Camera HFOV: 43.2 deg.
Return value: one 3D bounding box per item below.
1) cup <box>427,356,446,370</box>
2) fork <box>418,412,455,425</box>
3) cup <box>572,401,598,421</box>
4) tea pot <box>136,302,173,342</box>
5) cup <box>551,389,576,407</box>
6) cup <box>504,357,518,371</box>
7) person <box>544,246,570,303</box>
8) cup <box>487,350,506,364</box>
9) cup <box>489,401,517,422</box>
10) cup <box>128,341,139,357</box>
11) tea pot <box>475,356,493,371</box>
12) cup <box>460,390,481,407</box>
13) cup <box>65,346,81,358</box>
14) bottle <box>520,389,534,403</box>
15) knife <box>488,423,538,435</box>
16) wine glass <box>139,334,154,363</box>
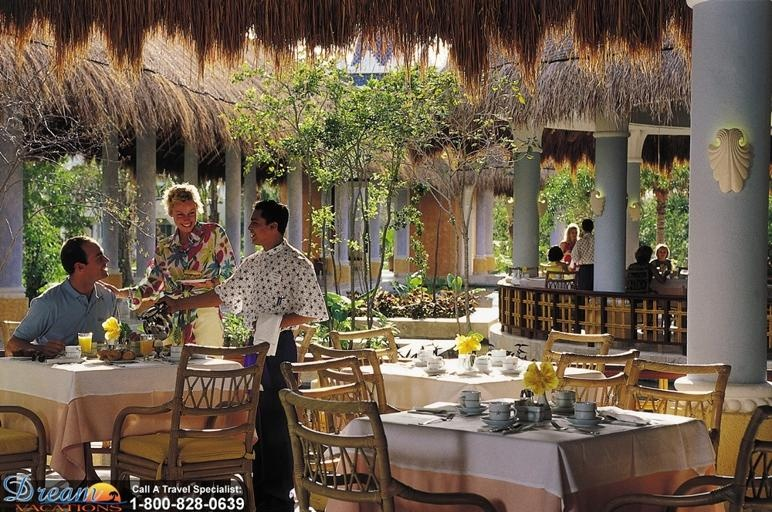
[{"bbox_3d":[0.468,0.987,9.027,0.127,0.104,0.089,8,-11,-35],"label":"cup"},{"bbox_3d":[0.379,1.178,7.060,0.077,0.084,0.505,5,0,29],"label":"fork"},{"bbox_3d":[1.431,1.110,7.001,0.132,0.117,0.111,1,-3,16],"label":"cup"},{"bbox_3d":[-2.091,0.583,8.763,0.282,0.418,0.124,2,29,26],"label":"tea pot"},{"bbox_3d":[1.344,1.068,7.362,0.130,0.112,0.110,-2,-3,11],"label":"cup"},{"bbox_3d":[1.147,0.992,8.976,0.103,0.096,0.117,0,-3,4],"label":"cup"},{"bbox_3d":[2.874,0.365,16.403,0.490,0.912,0.593,2,4,11],"label":"person"},{"bbox_3d":[1.052,0.941,9.143,0.128,0.109,0.106,-2,-1,28],"label":"cup"},{"bbox_3d":[0.822,1.113,6.977,0.144,0.125,0.118,5,-8,-29],"label":"cup"},{"bbox_3d":[-2.259,0.821,8.638,0.107,0.137,0.113,-1,-4,0],"label":"cup"},{"bbox_3d":[0.895,0.997,9.038,0.107,0.124,0.126,-1,-4,2],"label":"tea pot"},{"bbox_3d":[0.627,1.066,7.317,0.118,0.107,0.103,-2,1,12],"label":"cup"},{"bbox_3d":[-2.758,0.829,8.500,0.125,0.115,0.082,2,5,8],"label":"cup"},{"bbox_3d":[1.045,1.036,7.236,0.061,0.104,0.089,-8,-17,31],"label":"bottle"},{"bbox_3d":[0.912,1.211,6.858,0.401,0.037,0.148,0,1,-31],"label":"knife"},{"bbox_3d":[-2.158,0.815,8.712,0.134,0.271,0.157,0,-5,-4],"label":"wine glass"}]
